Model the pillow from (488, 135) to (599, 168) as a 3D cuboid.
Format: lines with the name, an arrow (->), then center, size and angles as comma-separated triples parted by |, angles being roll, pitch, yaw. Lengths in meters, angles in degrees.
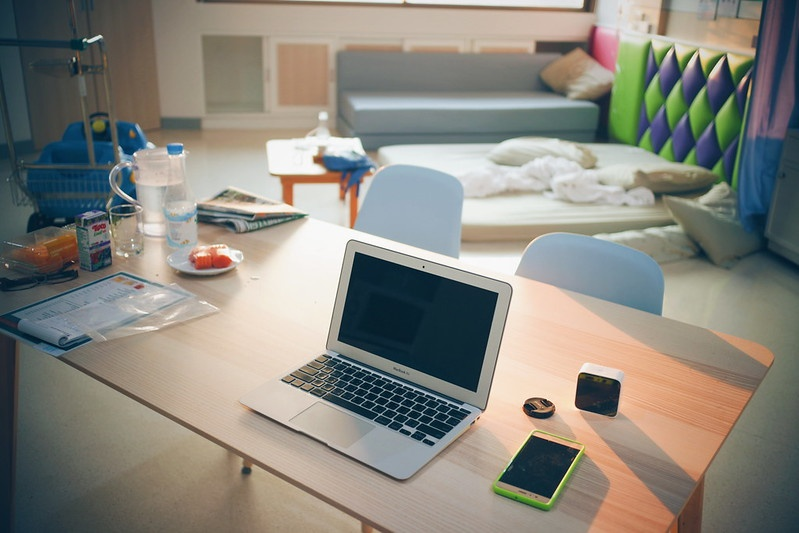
pillow -> 1.100, -0.887, 4.258 | 0.540, 0.126, 0.379 | 4, 27, 7

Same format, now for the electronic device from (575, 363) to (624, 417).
electronic device -> 0.482, 0.299, 1.328 | 0.102, 0.097, 0.072 | 9, 11, 31

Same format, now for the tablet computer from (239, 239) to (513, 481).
tablet computer -> -0.061, 0.186, 1.259 | 0.515, 0.293, 0.474 | 21, 29, 41

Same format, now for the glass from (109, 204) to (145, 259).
glass -> -0.894, -0.082, 1.862 | 0.086, 0.088, 0.129 | 13, 58, -36

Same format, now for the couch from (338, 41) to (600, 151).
couch -> 0.603, -1.720, 5.650 | 2.450, 0.839, 1.252 | -2, 25, -7

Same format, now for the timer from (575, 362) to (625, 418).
timer -> 0.481, 0.299, 1.329 | 0.106, 0.096, 0.083 | 12, 15, 35
